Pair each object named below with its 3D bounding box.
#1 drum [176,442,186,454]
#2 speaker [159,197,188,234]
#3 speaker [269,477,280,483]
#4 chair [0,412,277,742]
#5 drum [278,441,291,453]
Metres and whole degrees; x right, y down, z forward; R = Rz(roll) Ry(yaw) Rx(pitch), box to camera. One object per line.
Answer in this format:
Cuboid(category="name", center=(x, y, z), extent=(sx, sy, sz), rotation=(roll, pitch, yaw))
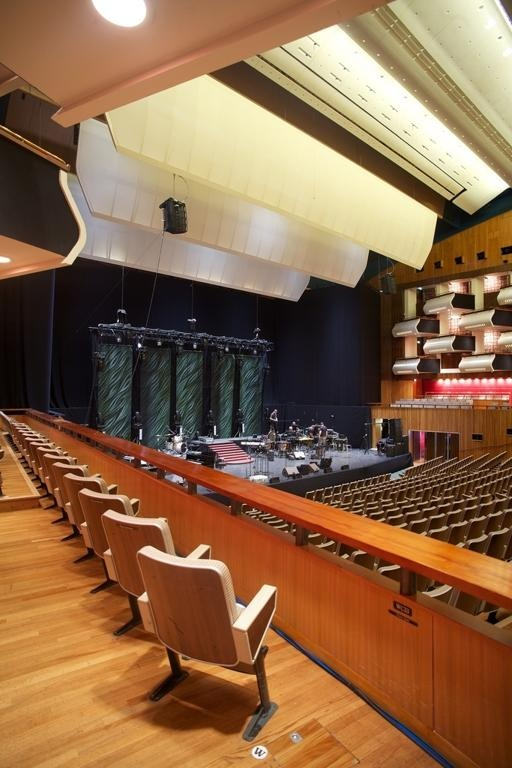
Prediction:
Cuboid(category="drum", center=(-2.034, 1.759, 13.883), extent=(0.236, 0.271, 0.262), rotation=(3, -3, -13))
Cuboid(category="speaker", center=(-1.559, -3.230, 9.682), extent=(0.451, 0.764, 0.510), rotation=(-2, 1, -28))
Cuboid(category="speaker", center=(0.384, 1.850, 10.053), extent=(0.172, 0.175, 0.088), rotation=(-2, 6, -31))
Cuboid(category="chair", center=(-0.457, 0.967, 2.377), extent=(0.732, 1.247, 0.784), rotation=(-5, 8, -42))
Cuboid(category="drum", center=(0.871, 1.842, 14.964), extent=(0.312, 0.333, 0.321), rotation=(3, 4, 34))
